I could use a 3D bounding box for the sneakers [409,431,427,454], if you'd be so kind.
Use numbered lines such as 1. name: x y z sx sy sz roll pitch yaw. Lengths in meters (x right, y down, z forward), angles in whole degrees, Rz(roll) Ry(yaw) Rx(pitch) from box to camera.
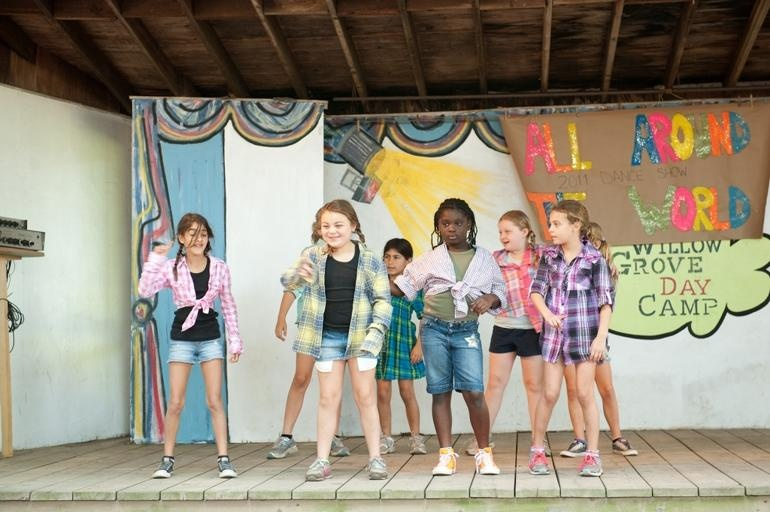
1. sneakers: 0.284 1.618 5.530 0.181 0.187 0.460 0 -12 3

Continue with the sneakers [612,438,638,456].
1. sneakers: 1.964 1.555 5.235 0.090 0.100 0.251 3 -7 -20

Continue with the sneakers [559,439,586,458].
1. sneakers: 1.508 1.551 5.168 0.285 0.116 0.098 5 -12 -29

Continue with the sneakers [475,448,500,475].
1. sneakers: 0.743 1.468 4.553 0.122 0.103 0.253 0 -12 0

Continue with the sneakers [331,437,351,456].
1. sneakers: -0.407 1.634 5.489 0.107 0.090 0.226 7 -13 -25

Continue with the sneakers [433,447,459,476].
1. sneakers: 0.430 1.473 4.649 0.173 0.194 0.214 -2 -9 3

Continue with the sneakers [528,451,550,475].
1. sneakers: 1.115 1.471 4.593 0.142 0.159 0.126 -3 -9 9

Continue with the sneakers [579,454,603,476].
1. sneakers: 1.452 1.449 4.507 0.161 0.170 0.171 -4 -9 15

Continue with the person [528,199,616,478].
1. person: 1.343 0.566 4.662 0.683 1.969 0.304 -4 -10 9

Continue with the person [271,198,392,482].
1. person: -0.338 0.583 4.605 0.770 1.981 0.428 -2 -10 -1

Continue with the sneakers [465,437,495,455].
1. sneakers: 0.796 1.599 5.386 0.155 0.147 0.365 0 -15 2

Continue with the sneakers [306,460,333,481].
1. sneakers: -0.468 1.504 4.524 0.176 0.143 0.097 7 -13 -44

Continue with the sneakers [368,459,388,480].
1. sneakers: -0.051 1.487 4.513 0.134 0.149 0.118 -2 -9 -3

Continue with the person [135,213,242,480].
1. person: -1.468 0.641 4.812 0.742 1.975 0.431 1 -10 -16

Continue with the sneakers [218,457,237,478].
1. sneakers: -1.146 1.540 4.676 0.126 0.139 0.161 2 -10 -24

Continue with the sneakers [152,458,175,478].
1. sneakers: -1.656 1.557 4.757 0.146 0.148 0.235 1 -9 -19
